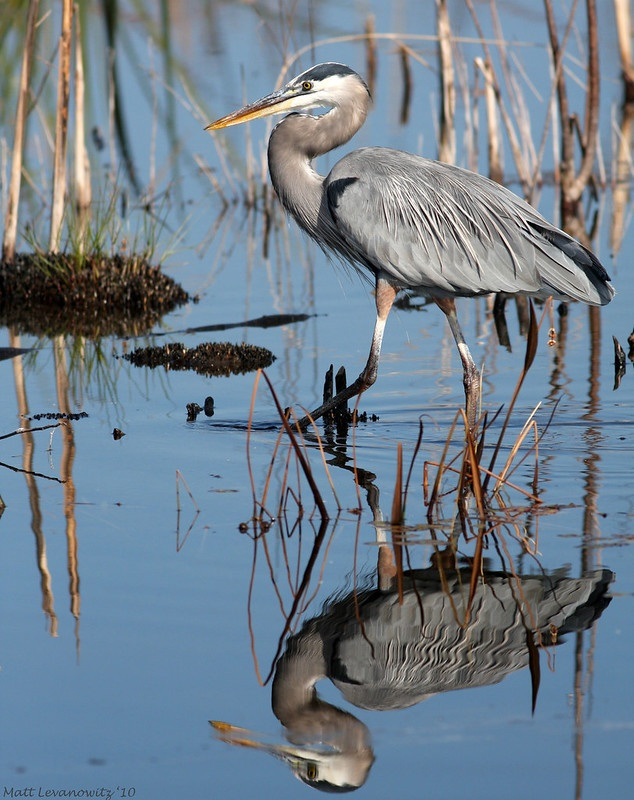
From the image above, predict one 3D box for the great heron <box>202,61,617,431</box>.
[{"bbox_3d":[0.579,-0.918,6.218,0.809,1.821,2.005,-11,16,-40],"label":"great heron"}]
